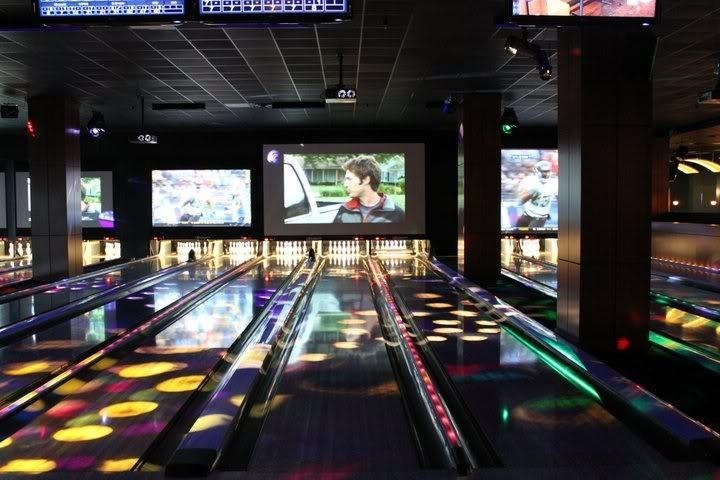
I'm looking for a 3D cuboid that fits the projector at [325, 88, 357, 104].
[{"bbox_3d":[-0.293,-2.160,7.411,0.466,0.211,0.433,-1,7,-4],"label":"projector"}]

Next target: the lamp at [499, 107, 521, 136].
[{"bbox_3d":[3.053,-2.474,10.161,0.289,0.490,0.431,4,13,21],"label":"lamp"}]

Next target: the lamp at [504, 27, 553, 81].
[{"bbox_3d":[2.272,-2.500,6.677,0.668,0.615,0.398,-9,15,-36],"label":"lamp"}]

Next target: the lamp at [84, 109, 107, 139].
[{"bbox_3d":[-5.398,-2.364,10.159,0.317,0.500,0.446,-7,13,-25],"label":"lamp"}]
